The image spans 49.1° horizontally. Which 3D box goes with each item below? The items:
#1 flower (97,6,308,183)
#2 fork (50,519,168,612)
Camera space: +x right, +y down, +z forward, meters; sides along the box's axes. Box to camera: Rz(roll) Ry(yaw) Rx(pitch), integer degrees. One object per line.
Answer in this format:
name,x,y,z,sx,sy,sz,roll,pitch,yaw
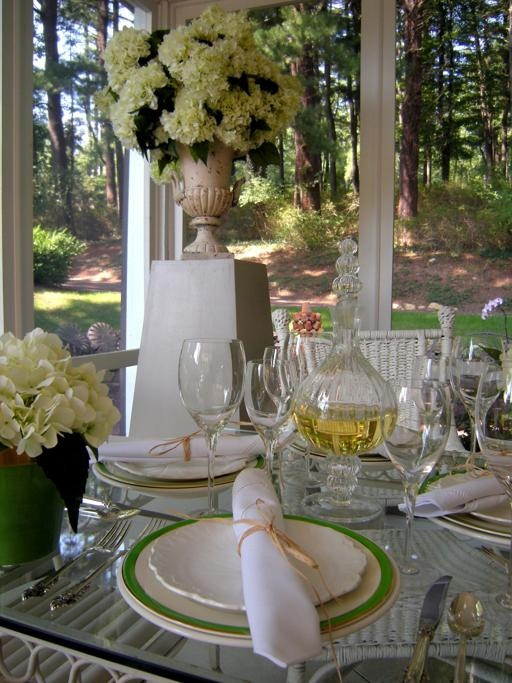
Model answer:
flower,-0.133,-0.756,1.792,0.583,0.471,0.505,7,28,15
fork,-0.141,0.218,0.569,0.022,0.014,0.160,-6,6,19
